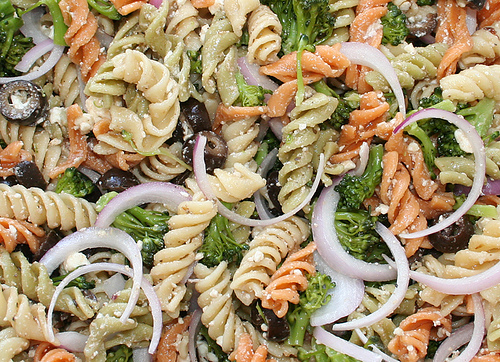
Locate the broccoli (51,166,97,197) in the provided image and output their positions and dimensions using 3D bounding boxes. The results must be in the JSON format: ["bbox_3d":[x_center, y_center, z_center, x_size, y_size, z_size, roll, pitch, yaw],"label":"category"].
[{"bbox_3d":[-1.378,0.034,4.275,0.249,0.111,0.263,32,62,6],"label":"broccoli"}]

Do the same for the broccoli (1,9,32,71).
[{"bbox_3d":[-1.868,-1.116,4.322,0.348,0.120,0.393,-1,93,-36],"label":"broccoli"}]

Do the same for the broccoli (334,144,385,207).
[{"bbox_3d":[0.904,-0.030,4.198,0.498,0.118,0.263,-39,85,-2],"label":"broccoli"}]

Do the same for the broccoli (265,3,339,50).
[{"bbox_3d":[0.425,-1.249,4.254,0.566,0.200,0.417,-8,85,0],"label":"broccoli"}]

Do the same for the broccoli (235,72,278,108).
[{"bbox_3d":[0.001,-0.690,4.172,0.256,0.083,0.284,21,84,17],"label":"broccoli"}]

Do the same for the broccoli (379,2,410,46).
[{"bbox_3d":[1.143,-1.216,4.282,0.251,0.102,0.277,24,96,6],"label":"broccoli"}]

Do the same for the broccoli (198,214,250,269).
[{"bbox_3d":[-0.213,0.452,4.223,0.364,0.116,0.408,17,83,-19],"label":"broccoli"}]

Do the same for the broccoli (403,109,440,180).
[{"bbox_3d":[1.330,-0.293,4.337,0.257,0.133,0.525,-34,106,-2],"label":"broccoli"}]
